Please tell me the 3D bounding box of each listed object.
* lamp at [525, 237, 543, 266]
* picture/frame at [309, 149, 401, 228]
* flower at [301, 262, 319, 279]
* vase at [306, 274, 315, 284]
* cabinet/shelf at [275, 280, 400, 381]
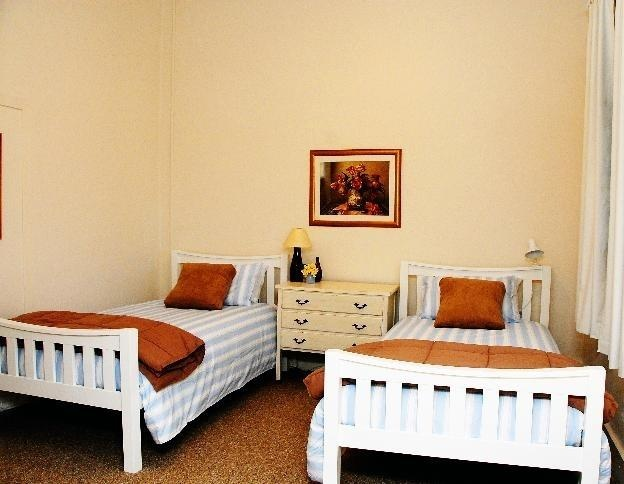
[{"bbox_3d":[1.754,0.073,4.369,0.096,0.155,0.145,16,-39,-24],"label":"lamp"},{"bbox_3d":[0.407,-0.475,4.816,0.644,0.583,0.027,0,0,15],"label":"picture/frame"},{"bbox_3d":[-0.023,0.238,4.768,0.110,0.118,0.113,5,7,38],"label":"flower"},{"bbox_3d":[-0.017,0.315,4.679,0.061,0.063,0.063,0,-5,-6],"label":"vase"},{"bbox_3d":[0.194,0.593,4.662,0.923,0.838,0.551,-1,-3,12],"label":"cabinet/shelf"}]
